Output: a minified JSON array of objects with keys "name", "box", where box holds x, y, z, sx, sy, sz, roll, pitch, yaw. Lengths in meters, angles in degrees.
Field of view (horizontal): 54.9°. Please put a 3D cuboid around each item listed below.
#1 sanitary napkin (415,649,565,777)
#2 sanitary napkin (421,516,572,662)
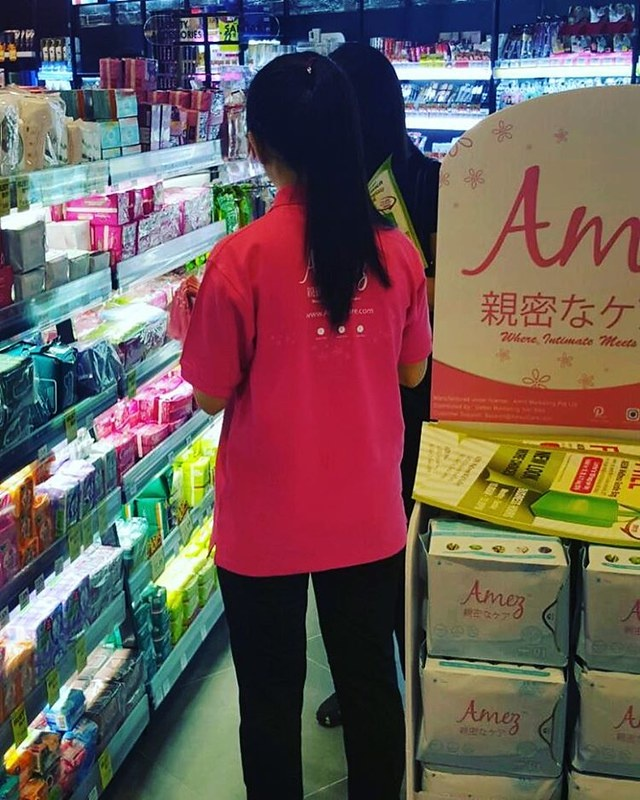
[{"name":"sanitary napkin","box":[0.305,0.541,1.073,0.205,0.227,0.098,3,26,13]},{"name":"sanitary napkin","box":[0.303,0.323,1.036,0.201,0.218,0.087,1,14,4]}]
